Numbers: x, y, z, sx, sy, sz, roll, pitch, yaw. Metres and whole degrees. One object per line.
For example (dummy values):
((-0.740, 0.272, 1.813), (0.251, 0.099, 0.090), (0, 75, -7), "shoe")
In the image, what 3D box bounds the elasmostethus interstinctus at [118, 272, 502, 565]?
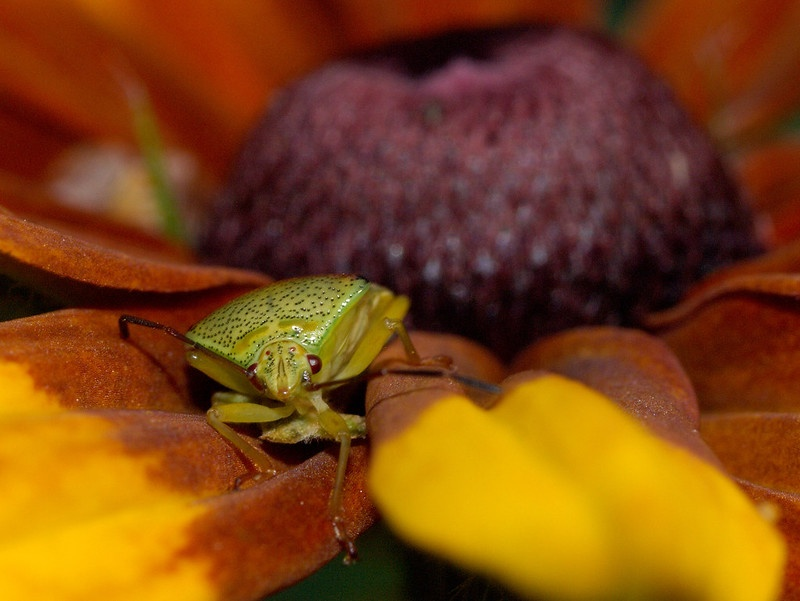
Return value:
((-0.165, 0.152, 1.285), (0.389, 0.497, 0.492), (-9, 82, 36), "elasmostethus interstinctus")
